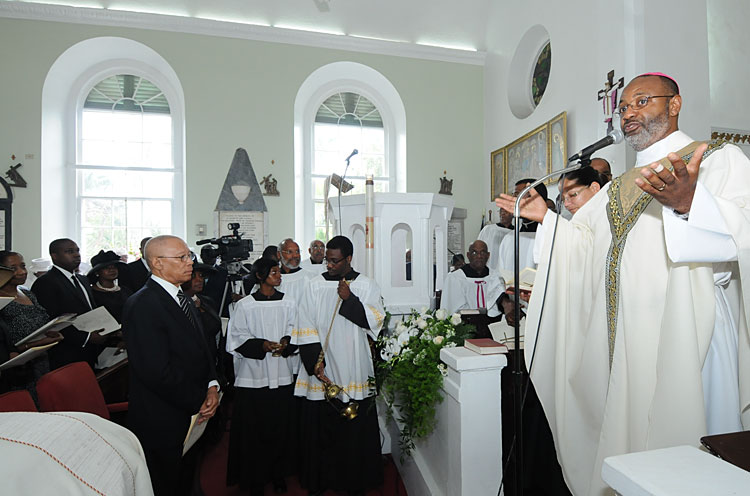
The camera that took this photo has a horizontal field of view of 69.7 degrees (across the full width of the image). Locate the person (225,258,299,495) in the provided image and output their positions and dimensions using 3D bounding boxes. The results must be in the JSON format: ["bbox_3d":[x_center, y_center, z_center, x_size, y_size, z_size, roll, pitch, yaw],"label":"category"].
[{"bbox_3d":[-1.011,1.119,4.819,0.620,2.035,0.425,-1,1,-19],"label":"person"}]

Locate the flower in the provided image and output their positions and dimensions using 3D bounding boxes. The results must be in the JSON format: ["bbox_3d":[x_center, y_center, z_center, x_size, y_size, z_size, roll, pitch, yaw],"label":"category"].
[{"bbox_3d":[0.316,1.011,4.854,1.038,1.546,1.274,3,-3,-13],"label":"flower"}]

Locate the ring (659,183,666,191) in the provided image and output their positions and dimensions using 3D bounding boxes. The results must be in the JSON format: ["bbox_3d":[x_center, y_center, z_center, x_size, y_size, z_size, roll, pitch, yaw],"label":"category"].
[{"bbox_3d":[1.615,-0.342,3.042,0.011,0.031,0.031,16,-5,-35],"label":"ring"}]

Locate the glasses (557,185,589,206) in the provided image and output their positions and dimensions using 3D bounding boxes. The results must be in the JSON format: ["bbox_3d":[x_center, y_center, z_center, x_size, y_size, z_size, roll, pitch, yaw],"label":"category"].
[{"bbox_3d":[1.438,-0.374,3.938,0.186,0.066,0.142,3,-4,-30],"label":"glasses"}]

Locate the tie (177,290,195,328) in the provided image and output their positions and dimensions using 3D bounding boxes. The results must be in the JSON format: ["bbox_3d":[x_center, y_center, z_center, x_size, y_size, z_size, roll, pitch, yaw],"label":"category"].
[{"bbox_3d":[-1.451,0.466,4.165,0.057,0.234,0.172,-15,-8,15],"label":"tie"}]

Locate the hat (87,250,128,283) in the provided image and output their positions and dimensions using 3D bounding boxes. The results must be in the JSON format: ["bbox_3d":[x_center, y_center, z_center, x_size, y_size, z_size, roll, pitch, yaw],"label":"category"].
[{"bbox_3d":[-3.266,0.245,6.607,0.291,0.156,0.279,-39,-14,17],"label":"hat"}]
